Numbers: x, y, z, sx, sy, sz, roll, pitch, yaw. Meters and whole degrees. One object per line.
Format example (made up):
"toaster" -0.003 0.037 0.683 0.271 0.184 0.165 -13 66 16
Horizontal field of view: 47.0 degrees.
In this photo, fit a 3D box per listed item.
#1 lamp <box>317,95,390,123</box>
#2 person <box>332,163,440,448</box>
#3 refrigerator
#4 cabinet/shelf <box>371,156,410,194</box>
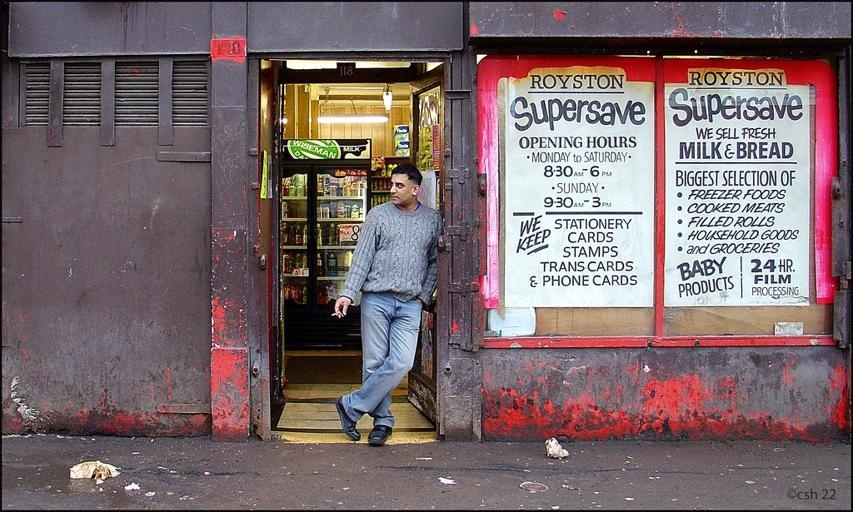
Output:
"lamp" -1.252 -2.443 16.387 1.195 0.436 1.043 0 1 -2
"person" -0.357 0.522 10.867 1.099 2.845 1.321 0 0 18
"refrigerator" -1.516 -0.212 15.362 1.659 3.043 1.026 0 -5 24
"cabinet/shelf" -0.528 -1.091 13.308 0.222 0.595 0.667 -5 19 20
